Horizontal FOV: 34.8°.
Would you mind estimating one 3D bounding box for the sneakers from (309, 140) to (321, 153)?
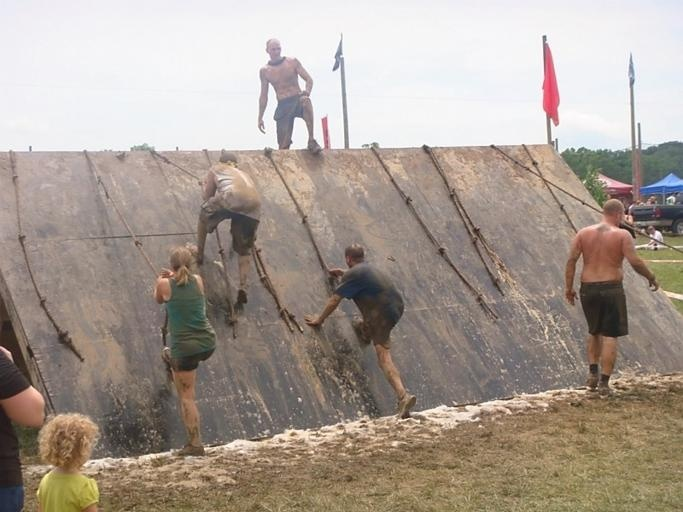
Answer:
[{"bbox_3d":[-0.379,-1.520,15.070,0.184,0.194,0.160,-7,-1,-1],"label":"sneakers"}]

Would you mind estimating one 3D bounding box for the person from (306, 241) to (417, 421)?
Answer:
[{"bbox_3d":[0.275,0.882,12.782,0.851,1.989,1.120,-6,-1,-22],"label":"person"}]

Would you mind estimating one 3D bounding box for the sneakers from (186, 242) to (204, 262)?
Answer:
[{"bbox_3d":[-1.786,-0.073,13.264,0.064,0.278,0.155,-41,-22,23],"label":"sneakers"}]

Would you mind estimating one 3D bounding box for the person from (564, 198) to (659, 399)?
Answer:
[{"bbox_3d":[3.201,0.486,13.161,0.945,2.353,0.360,-7,-1,14],"label":"person"}]

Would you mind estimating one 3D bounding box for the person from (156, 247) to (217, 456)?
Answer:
[{"bbox_3d":[-1.624,1.024,11.559,0.568,2.124,0.406,-6,-1,-9],"label":"person"}]

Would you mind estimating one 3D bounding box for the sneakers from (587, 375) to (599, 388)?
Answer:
[{"bbox_3d":[3.038,1.521,13.176,0.151,0.164,0.096,4,-13,4],"label":"sneakers"}]

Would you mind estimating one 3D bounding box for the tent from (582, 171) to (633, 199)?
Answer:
[{"bbox_3d":[8.488,-2.241,34.735,2.220,0.719,2.301,0,5,0],"label":"tent"}]

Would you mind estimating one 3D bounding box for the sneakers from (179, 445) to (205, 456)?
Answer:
[{"bbox_3d":[-1.599,2.081,11.657,0.196,0.084,0.129,-8,-23,2],"label":"sneakers"}]

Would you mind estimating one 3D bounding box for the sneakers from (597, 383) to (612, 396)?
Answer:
[{"bbox_3d":[3.169,1.602,13.114,0.146,0.205,0.116,-5,-8,35],"label":"sneakers"}]

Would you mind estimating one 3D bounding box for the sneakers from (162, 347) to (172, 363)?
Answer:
[{"bbox_3d":[-1.910,1.079,11.858,0.081,0.214,0.158,-4,33,-10],"label":"sneakers"}]

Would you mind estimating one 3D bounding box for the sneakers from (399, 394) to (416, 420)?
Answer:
[{"bbox_3d":[0.745,1.710,12.444,0.147,0.273,0.216,-6,-1,-21],"label":"sneakers"}]

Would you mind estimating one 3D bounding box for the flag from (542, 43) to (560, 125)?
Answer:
[{"bbox_3d":[3.369,-2.801,17.692,0.236,1.400,0.417,-7,-1,14],"label":"flag"}]

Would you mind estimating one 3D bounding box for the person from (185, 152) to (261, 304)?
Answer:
[{"bbox_3d":[-1.384,-0.470,13.056,0.928,1.781,0.926,-11,-32,22],"label":"person"}]
